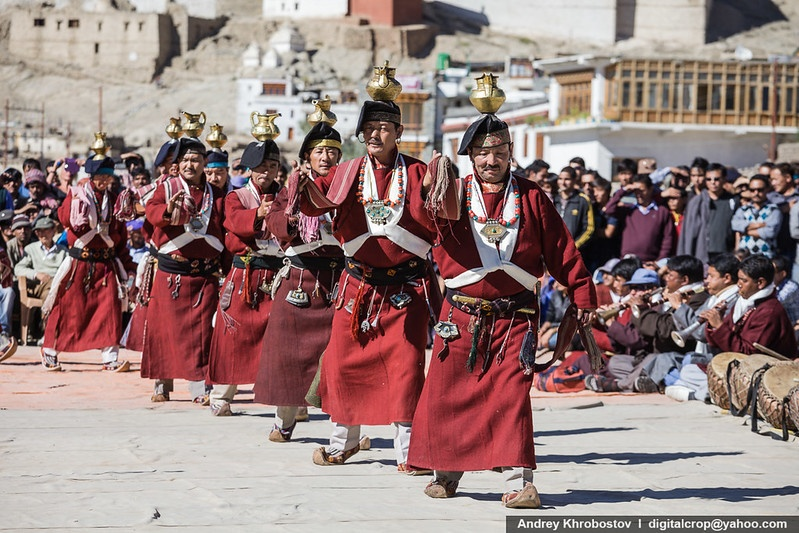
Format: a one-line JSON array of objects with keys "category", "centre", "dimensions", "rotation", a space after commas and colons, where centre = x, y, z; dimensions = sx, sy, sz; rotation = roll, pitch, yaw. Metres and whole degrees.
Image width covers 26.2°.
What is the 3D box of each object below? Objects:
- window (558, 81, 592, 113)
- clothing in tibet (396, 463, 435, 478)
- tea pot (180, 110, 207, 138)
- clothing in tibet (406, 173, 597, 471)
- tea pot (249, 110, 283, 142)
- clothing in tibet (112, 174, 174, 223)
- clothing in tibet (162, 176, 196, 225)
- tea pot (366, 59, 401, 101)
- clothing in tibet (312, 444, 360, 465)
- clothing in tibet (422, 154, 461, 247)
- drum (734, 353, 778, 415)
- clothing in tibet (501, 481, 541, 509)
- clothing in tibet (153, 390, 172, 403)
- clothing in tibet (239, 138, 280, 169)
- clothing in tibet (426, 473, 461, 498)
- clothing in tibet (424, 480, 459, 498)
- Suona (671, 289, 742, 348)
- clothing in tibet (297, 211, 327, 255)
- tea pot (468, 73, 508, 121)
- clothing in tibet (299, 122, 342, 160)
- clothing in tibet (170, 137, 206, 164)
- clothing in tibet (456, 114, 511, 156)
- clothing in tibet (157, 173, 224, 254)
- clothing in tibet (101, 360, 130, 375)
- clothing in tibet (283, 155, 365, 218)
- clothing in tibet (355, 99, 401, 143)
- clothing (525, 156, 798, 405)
[{"category": "window", "centre": [2.772, -2.672, 26.856], "dimensions": [0.052, 0.544, 0.937], "rotation": [-1, 4, -24]}, {"category": "clothing in tibet", "centre": [0.116, 1.667, 14.085], "dimensions": [0.319, 0.113, 0.113], "rotation": [-6, -8, 37]}, {"category": "tea pot", "centre": [-1.894, -1.348, 16.255], "dimensions": [0.327, 0.269, 0.237], "rotation": [2, -3, -28]}, {"category": "clothing in tibet", "centre": [0.830, 0.437, 13.615], "dimensions": [1.401, 2.233, 0.975], "rotation": [2, 16, 6]}, {"category": "tea pot", "centre": [-1.210, -1.284, 15.455], "dimensions": [0.395, 0.246, 0.290], "rotation": [2, 9, 4]}, {"category": "clothing in tibet", "centre": [-2.513, -0.671, 16.532], "dimensions": [0.474, 0.242, 0.633], "rotation": [-13, -7, -20]}, {"category": "clothing in tibet", "centre": [-2.003, -0.590, 15.625], "dimensions": [0.377, 0.409, 0.152], "rotation": [11, 40, -9]}, {"category": "tea pot", "centre": [-0.103, -1.555, 14.354], "dimensions": [0.377, 0.345, 0.411], "rotation": [3, 0, 0]}, {"category": "clothing in tibet", "centre": [-0.530, 1.564, 14.260], "dimensions": [0.329, 0.116, 0.156], "rotation": [2, 1, -18]}, {"category": "clothing in tibet", "centre": [0.338, -0.529, 13.600], "dimensions": [0.264, 0.744, 0.222], "rotation": [-2, 16, -9]}, {"category": "drum", "centre": [3.046, 1.016, 15.419], "dimensions": [0.543, 0.425, 0.460], "rotation": [-2, 36, -6]}, {"category": "clothing in tibet", "centre": [0.962, 1.801, 13.462], "dimensions": [0.169, 0.121, 0.297], "rotation": [-1, 0, -41]}, {"category": "clothing in tibet", "centre": [-2.213, 1.215, 16.071], "dimensions": [0.086, 0.061, 0.151], "rotation": [-4, -12, 39]}, {"category": "clothing in tibet", "centre": [-1.219, -1.004, 15.088], "dimensions": [0.235, 0.146, 0.352], "rotation": [5, -13, -42]}, {"category": "clothing in tibet", "centre": [0.352, 1.735, 13.645], "dimensions": [0.139, 0.153, 0.361], "rotation": [4, -14, 18]}, {"category": "clothing in tibet", "centre": [0.337, 1.760, 13.664], "dimensions": [0.312, 0.110, 0.102], "rotation": [5, 21, 2]}, {"category": "Suona", "centre": [2.850, 0.436, 16.013], "dimensions": [1.121, 0.218, 0.268], "rotation": [-22, 36, -40]}, {"category": "clothing in tibet", "centre": [-0.704, -0.285, 14.322], "dimensions": [0.243, 0.277, 0.159], "rotation": [4, 9, 35]}, {"category": "tea pot", "centre": [0.699, -1.377, 13.855], "dimensions": [0.377, 0.300, 0.396], "rotation": [0, -6, 0]}, {"category": "clothing in tibet", "centre": [-0.656, -1.065, 14.444], "dimensions": [0.341, 0.127, 0.347], "rotation": [2, -26, -18]}, {"category": "clothing in tibet", "centre": [-1.937, -1.112, 15.834], "dimensions": [0.248, 0.164, 0.251], "rotation": [-2, 3, -1]}, {"category": "clothing in tibet", "centre": [0.643, -1.079, 13.751], "dimensions": [0.543, 0.265, 0.326], "rotation": [-13, 16, 0]}, {"category": "clothing in tibet", "centre": [-1.907, -0.470, 15.642], "dimensions": [0.821, 0.724, 0.482], "rotation": [-5, 8, -24]}, {"category": "clothing in tibet", "centre": [-2.883, 1.021, 17.702], "dimensions": [0.337, 0.121, 0.110], "rotation": [-3, 5, 10]}, {"category": "clothing in tibet", "centre": [-0.608, -0.648, 13.974], "dimensions": [0.621, 0.162, 0.424], "rotation": [-15, 35, 5]}, {"category": "clothing in tibet", "centre": [-0.181, -1.267, 14.172], "dimensions": [0.381, 0.205, 0.278], "rotation": [0, -12, 24]}, {"category": "clothing", "centre": [2.502, 0.572, 17.047], "dimensions": [1.828, 1.834, 1.448], "rotation": [5, -10, -20]}]
